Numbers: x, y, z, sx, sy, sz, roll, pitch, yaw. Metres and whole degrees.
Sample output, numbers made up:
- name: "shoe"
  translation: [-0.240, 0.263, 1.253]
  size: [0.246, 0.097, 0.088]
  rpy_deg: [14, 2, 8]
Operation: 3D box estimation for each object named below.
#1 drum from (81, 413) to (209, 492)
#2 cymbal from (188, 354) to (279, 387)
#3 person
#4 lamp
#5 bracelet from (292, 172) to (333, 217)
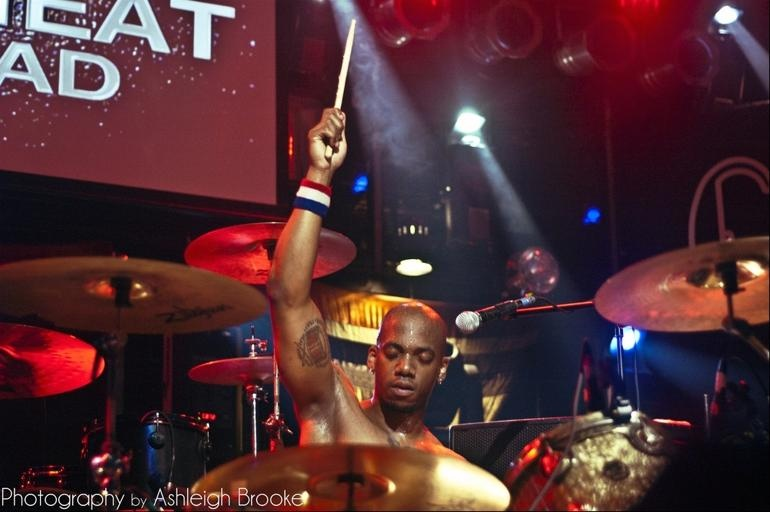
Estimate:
- name: "drum"
  translation: [-2.110, 1.796, 6.946]
  size: [0.992, 0.755, 1.043]
  rpy_deg: [1, -23, 1]
- name: "cymbal"
  translation: [-1.546, 1.247, 7.978]
  size: [0.976, 0.256, 0.892]
  rpy_deg: [-6, -13, 8]
- name: "person"
  translation: [-0.224, 0.243, 5.359]
  size: [0.789, 2.316, 1.204]
  rpy_deg: [-9, -13, 30]
- name: "lamp"
  translation: [1.872, -2.336, 8.148]
  size: [1.782, 0.621, 1.803]
  rpy_deg: [13, 7, -11]
- name: "bracelet"
  translation: [-0.457, -0.394, 5.108]
  size: [0.232, 0.209, 0.249]
  rpy_deg: [11, -18, 35]
